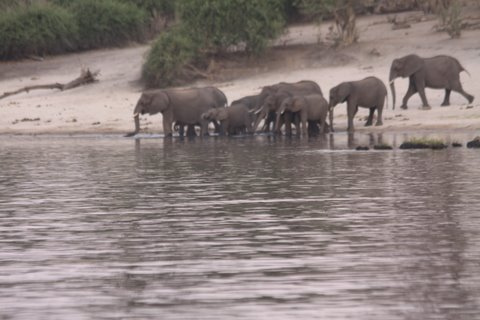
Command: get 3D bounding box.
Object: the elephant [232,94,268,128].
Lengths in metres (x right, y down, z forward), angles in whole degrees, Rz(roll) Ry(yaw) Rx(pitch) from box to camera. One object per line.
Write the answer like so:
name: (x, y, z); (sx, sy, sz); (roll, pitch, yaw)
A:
elephant: (0.374, -2.088, 32.933); (2.070, 0.892, 0.838); (1, 5, 14)

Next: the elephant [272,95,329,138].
elephant: (2.781, -1.482, 30.473); (2.691, 1.550, 1.142); (-2, -18, 38)

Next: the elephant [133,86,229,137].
elephant: (-2.694, -1.733, 31.844); (4.228, 1.691, 1.171); (-2, 6, -1)

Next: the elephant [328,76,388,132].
elephant: (4.571, -1.991, 30.439); (3.128, 1.767, 0.931); (-8, 5, -26)

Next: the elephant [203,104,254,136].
elephant: (-0.604, -1.520, 31.896); (2.593, 1.054, 0.915); (-2, 12, -19)

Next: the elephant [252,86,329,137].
elephant: (2.086, -1.741, 31.973); (3.673, 1.597, 1.519); (0, 9, -20)

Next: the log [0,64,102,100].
log: (-10.724, -4.136, 44.468); (2.140, 1.338, 5.949); (2, 7, 43)

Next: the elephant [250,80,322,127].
elephant: (1.532, -2.350, 32.944); (3.656, 1.483, 1.433); (-4, 6, -5)
